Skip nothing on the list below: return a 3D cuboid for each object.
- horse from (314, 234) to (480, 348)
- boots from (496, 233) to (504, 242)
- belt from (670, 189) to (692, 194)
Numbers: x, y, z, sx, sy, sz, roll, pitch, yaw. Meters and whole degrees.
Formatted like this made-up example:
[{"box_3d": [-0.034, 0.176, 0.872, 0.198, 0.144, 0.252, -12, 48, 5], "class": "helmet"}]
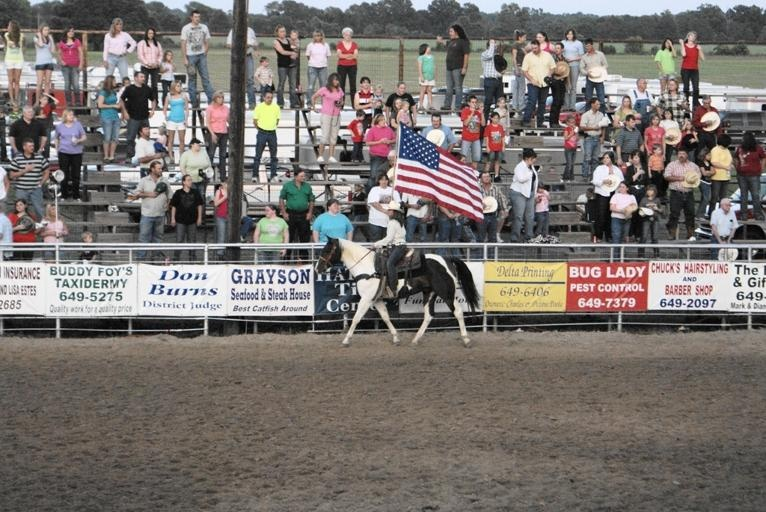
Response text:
[{"box_3d": [0.555, 1.056, 45.740, 4.401, 3.230, 1.033, -2, 4, -3], "class": "horse"}, {"box_3d": [3.686, -0.539, 49.598, 0.173, 0.280, 0.373, 1, -1, -20], "class": "boots"}, {"box_3d": [9.553, -2.087, 50.223, 0.610, 0.104, 0.110, -1, 4, 7], "class": "belt"}]
